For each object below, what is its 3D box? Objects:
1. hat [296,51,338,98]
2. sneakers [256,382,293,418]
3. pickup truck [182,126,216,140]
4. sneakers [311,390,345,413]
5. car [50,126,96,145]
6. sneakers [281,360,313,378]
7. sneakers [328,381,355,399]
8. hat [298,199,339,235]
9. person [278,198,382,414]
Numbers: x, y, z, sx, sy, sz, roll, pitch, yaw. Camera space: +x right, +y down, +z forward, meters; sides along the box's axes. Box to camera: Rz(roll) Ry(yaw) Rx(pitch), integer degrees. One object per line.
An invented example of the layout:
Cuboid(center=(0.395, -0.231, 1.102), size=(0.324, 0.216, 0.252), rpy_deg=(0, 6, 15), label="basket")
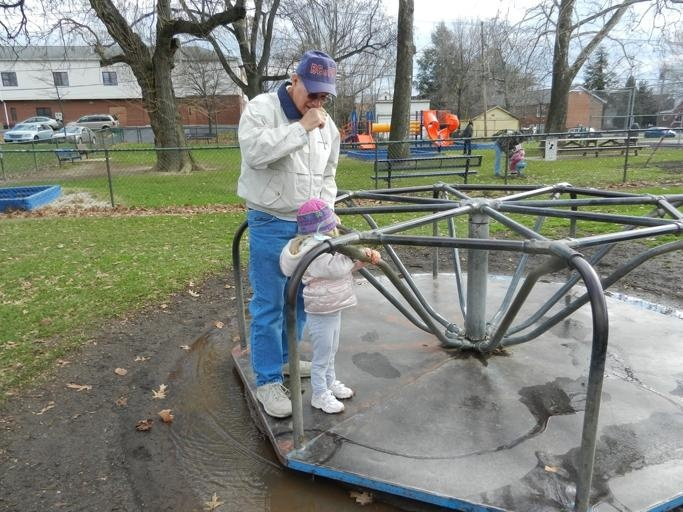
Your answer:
Cuboid(center=(-0.143, -1.124, 3.400), size=(0.231, 0.158, 0.318), rpy_deg=(-12, 49, -33), label="hat")
Cuboid(center=(-0.455, 0.966, 3.700), size=(0.149, 0.116, 0.310), rpy_deg=(-1, 7, -41), label="sneakers")
Cuboid(center=(-9.909, -8.573, 38.059), size=(1.725, 0.821, 8.453), rpy_deg=(-5, 15, -17), label="pickup truck")
Cuboid(center=(-0.099, 0.975, 3.737), size=(0.242, 0.101, 0.112), rpy_deg=(6, 10, 26), label="sneakers")
Cuboid(center=(-13.181, -5.902, 26.967), size=(1.778, 0.746, 4.171), rpy_deg=(-7, 15, -23), label="car")
Cuboid(center=(-0.306, 0.833, 4.126), size=(0.293, 0.105, 0.123), rpy_deg=(-3, 13, -2), label="sneakers")
Cuboid(center=(-0.022, 0.928, 3.839), size=(0.196, 0.077, 0.090), rpy_deg=(4, 11, 31), label="sneakers")
Cuboid(center=(-0.160, -0.232, 3.514), size=(0.251, 0.161, 0.228), rpy_deg=(-9, 21, 2), label="hat")
Cuboid(center=(-0.100, 0.342, 3.575), size=(0.465, 1.412, 0.468), rpy_deg=(-11, 20, -29), label="person")
